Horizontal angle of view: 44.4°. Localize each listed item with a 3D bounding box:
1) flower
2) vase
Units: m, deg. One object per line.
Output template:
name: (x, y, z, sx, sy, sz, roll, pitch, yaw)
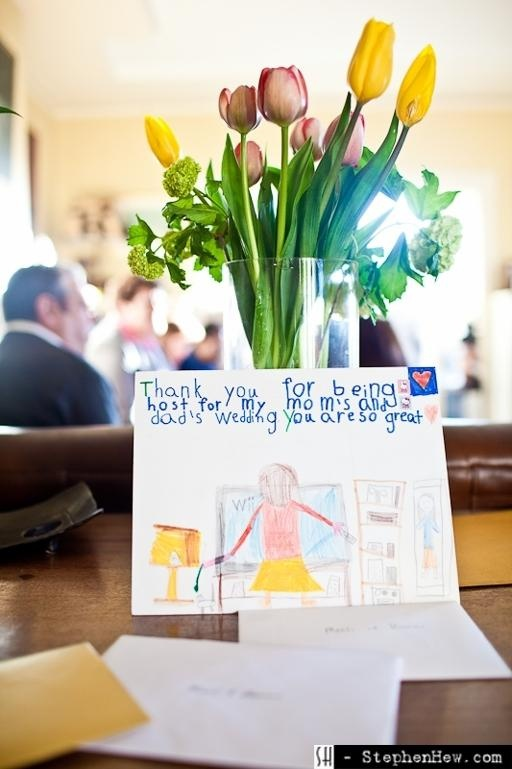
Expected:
flower: (0.043, -0.203, 0.735, 0.378, 0.377, 0.271, 0, 0, 24)
vase: (0.034, -0.072, 0.652, 0.106, 0.142, 0.119, 0, -7, -5)
